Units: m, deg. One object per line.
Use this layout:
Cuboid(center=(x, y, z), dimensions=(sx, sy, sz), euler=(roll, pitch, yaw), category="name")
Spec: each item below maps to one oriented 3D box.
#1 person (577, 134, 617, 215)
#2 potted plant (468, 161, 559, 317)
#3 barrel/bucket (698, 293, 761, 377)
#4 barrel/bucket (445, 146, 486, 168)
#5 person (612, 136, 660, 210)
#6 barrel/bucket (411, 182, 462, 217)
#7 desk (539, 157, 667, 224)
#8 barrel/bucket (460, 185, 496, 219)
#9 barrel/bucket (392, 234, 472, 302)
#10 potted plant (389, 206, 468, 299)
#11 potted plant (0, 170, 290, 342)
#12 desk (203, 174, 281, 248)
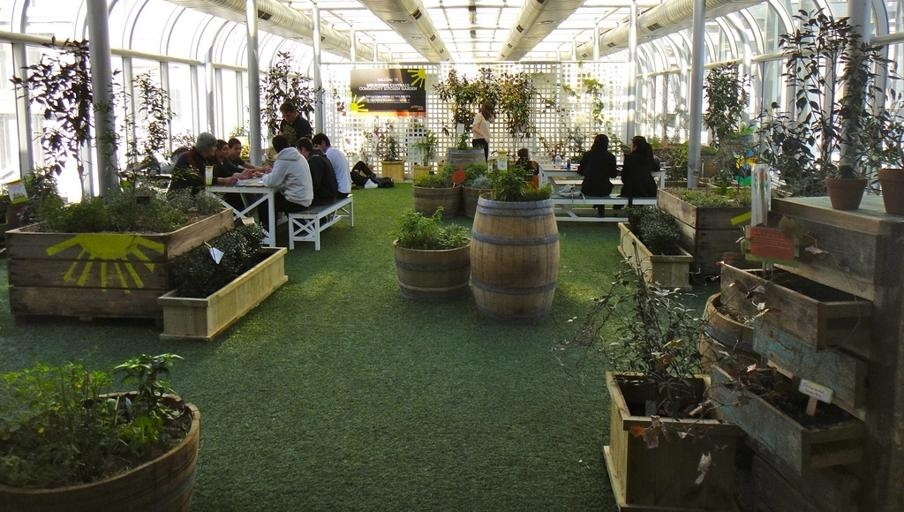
Cuboid(center=(2.654, -1.529, 10.932), dimensions=(0.825, 1.839, 1.106), euler=(1, 37, 11), category="person")
Cuboid(center=(0.733, 0.029, 6.884), dimensions=(1.034, 1.390, 1.026), euler=(-6, 11, -36), category="potted plant")
Cuboid(center=(2.063, 0.634, 4.548), dimensions=(0.589, 0.564, 0.588), euler=(1, 8, 0), category="barrel/bucket")
Cuboid(center=(0.353, -2.192, 13.527), dimensions=(0.652, 0.588, 0.631), euler=(1, 9, 0), category="barrel/bucket")
Cuboid(center=(3.434, -1.500, 11.066), dimensions=(0.676, 1.434, 0.607), euler=(-8, 33, -3), category="person")
Cuboid(center=(-0.169, -1.109, 12.075), dimensions=(1.083, 0.636, 1.050), euler=(-4, 14, 1), category="barrel/bucket")
Cuboid(center=(2.621, -1.082, 11.786), dimensions=(1.857, 0.865, 1.819), euler=(-1, 14, 1), category="desk")
Cuboid(center=(0.508, -0.944, 12.001), dimensions=(0.538, 0.461, 0.593), euler=(19, 3, -15), category="barrel/bucket")
Cuboid(center=(-0.218, 0.123, 7.171), dimensions=(0.780, 0.456, 0.756), euler=(0, 10, 0), category="barrel/bucket")
Cuboid(center=(-0.235, -0.076, 7.551), dimensions=(1.027, 1.006, 1.047), euler=(-1, 11, -2), category="potted plant")
Cuboid(center=(-3.432, 0.075, 6.627), dimensions=(2.096, 0.706, 2.033), euler=(2, 15, 3), category="potted plant")
Cuboid(center=(-3.092, -0.670, 9.570), dimensions=(1.174, 1.035, 1.142), euler=(-1, 15, -4), category="desk")
